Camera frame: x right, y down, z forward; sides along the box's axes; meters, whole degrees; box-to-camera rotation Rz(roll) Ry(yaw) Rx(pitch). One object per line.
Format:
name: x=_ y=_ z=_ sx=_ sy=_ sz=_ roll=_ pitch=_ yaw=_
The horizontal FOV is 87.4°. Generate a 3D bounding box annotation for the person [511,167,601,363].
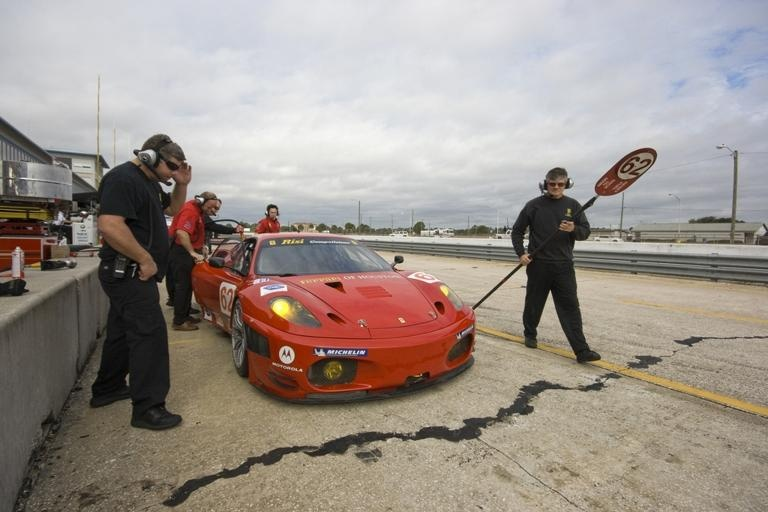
person: x=2.115 y=0.023 z=4.899 sx=0.839 sy=2.179 sz=1.291 roll=-3 pitch=9 yaw=-14

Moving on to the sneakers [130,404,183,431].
sneakers: x=-1.963 y=1.327 z=3.395 sx=0.440 sy=0.204 sz=0.177 roll=-1 pitch=-4 yaw=5

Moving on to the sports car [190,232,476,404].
sports car: x=-0.841 y=0.442 z=4.651 sx=1.683 sy=0.858 sz=2.948 roll=-1 pitch=1 yaw=-27

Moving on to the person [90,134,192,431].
person: x=-2.182 y=0.155 z=3.544 sx=0.794 sy=2.472 sz=0.962 roll=-4 pitch=10 yaw=-18

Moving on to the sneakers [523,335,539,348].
sneakers: x=1.848 y=1.041 z=5.020 sx=0.111 sy=0.118 sz=0.310 roll=1 pitch=-12 yaw=12

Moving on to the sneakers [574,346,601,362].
sneakers: x=2.285 y=1.077 z=4.517 sx=0.319 sy=0.146 sz=0.117 roll=-10 pitch=3 yaw=23

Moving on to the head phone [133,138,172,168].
head phone: x=-2.191 y=-0.966 z=3.651 sx=0.260 sy=0.137 sz=0.348 roll=18 pitch=38 yaw=20

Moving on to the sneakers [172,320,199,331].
sneakers: x=-2.998 y=0.995 z=5.950 sx=0.449 sy=0.179 sz=0.154 roll=2 pitch=1 yaw=-10
